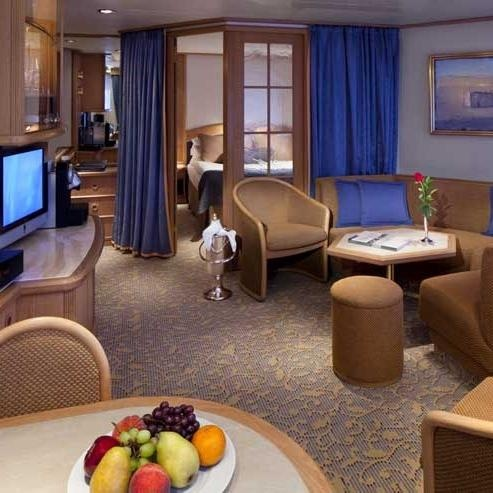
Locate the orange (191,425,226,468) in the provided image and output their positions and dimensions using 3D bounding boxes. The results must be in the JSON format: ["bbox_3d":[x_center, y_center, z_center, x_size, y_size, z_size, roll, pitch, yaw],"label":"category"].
[{"bbox_3d":[-0.056,0.307,0.664,0.048,0.056,0.050,-28,25,-17],"label":"orange"}]

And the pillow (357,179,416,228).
[{"bbox_3d":[1.470,-0.458,4.370,0.490,0.540,0.137,-1,-10,-17],"label":"pillow"}]

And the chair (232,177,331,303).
[{"bbox_3d":[0.327,-0.062,4.445,1.138,1.508,1.116,-8,15,-30],"label":"chair"}]

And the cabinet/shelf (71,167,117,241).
[{"bbox_3d":[-2.098,-0.728,5.519,0.604,0.611,0.376,-7,35,-33],"label":"cabinet/shelf"}]

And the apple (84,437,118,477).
[{"bbox_3d":[-0.204,0.299,0.575,0.040,0.042,0.041,-25,-25,-6],"label":"apple"}]

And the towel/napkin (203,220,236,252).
[{"bbox_3d":[-0.255,-0.116,3.808,0.282,0.293,0.304,1,5,6],"label":"towel/napkin"}]

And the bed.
[{"bbox_3d":[-0.277,-1.099,6.372,1.207,1.246,1.791,-2,12,-14],"label":"bed"}]

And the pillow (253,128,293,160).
[{"bbox_3d":[0.356,-1.180,4.785,0.339,0.366,0.096,1,9,-10],"label":"pillow"}]

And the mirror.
[{"bbox_3d":[-2.289,-2.189,6.076,0.923,1.438,1.899,-3,14,-11],"label":"mirror"}]

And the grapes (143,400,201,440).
[{"bbox_3d":[-0.124,0.293,0.686,0.073,0.051,0.039,1,-17,24],"label":"grapes"}]
